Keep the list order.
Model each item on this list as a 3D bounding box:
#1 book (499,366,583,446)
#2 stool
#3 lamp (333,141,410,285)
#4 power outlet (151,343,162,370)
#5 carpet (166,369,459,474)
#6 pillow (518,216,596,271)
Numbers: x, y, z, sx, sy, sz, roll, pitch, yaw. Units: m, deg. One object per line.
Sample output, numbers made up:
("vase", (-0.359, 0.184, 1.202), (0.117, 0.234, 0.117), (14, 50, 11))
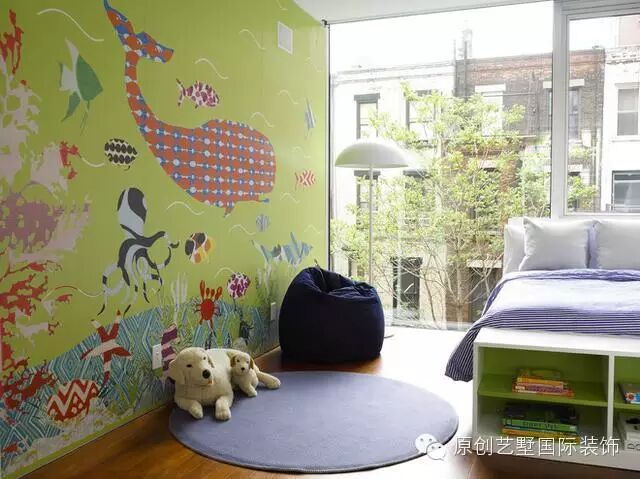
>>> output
("book", (1.180, 0.887, 2.626), (0.343, 0.093, 0.358), (-1, 6, 15))
("stool", (0.124, 0.614, 4.244), (0.871, 0.678, 0.910), (3, -1, 39))
("lamp", (0.532, -0.265, 5.115), (0.690, 1.499, 1.078), (1, 8, 8))
("power outlet", (-1.019, 0.737, 3.082), (0.013, 0.157, 0.083), (4, 8, 26))
("carpet", (0.000, 1.077, 2.942), (1.657, 0.043, 1.117), (-2, 7, -21))
("pillow", (2.068, 0.056, 4.302), (0.407, 0.400, 0.162), (1, -23, 26))
